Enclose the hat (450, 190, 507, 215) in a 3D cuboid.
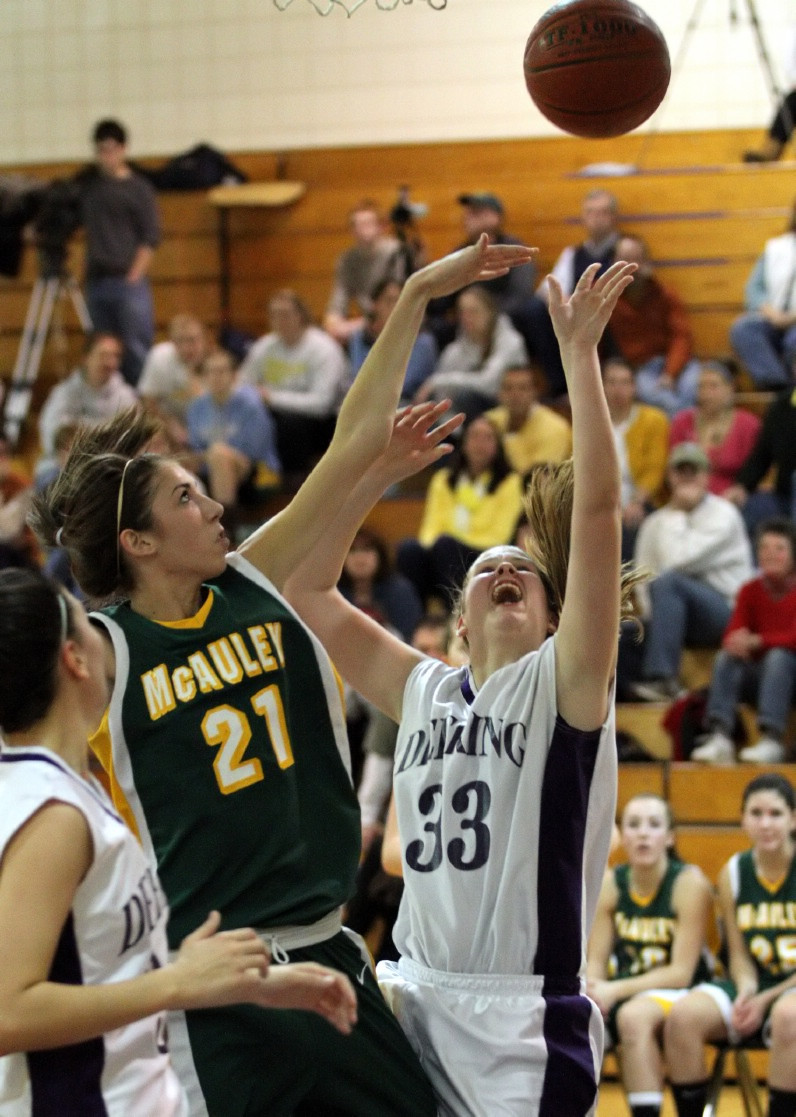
[{"bbox_3d":[0.476,-2.028,7.910,0.217,0.107,0.318,8,20,5],"label":"hat"}]
